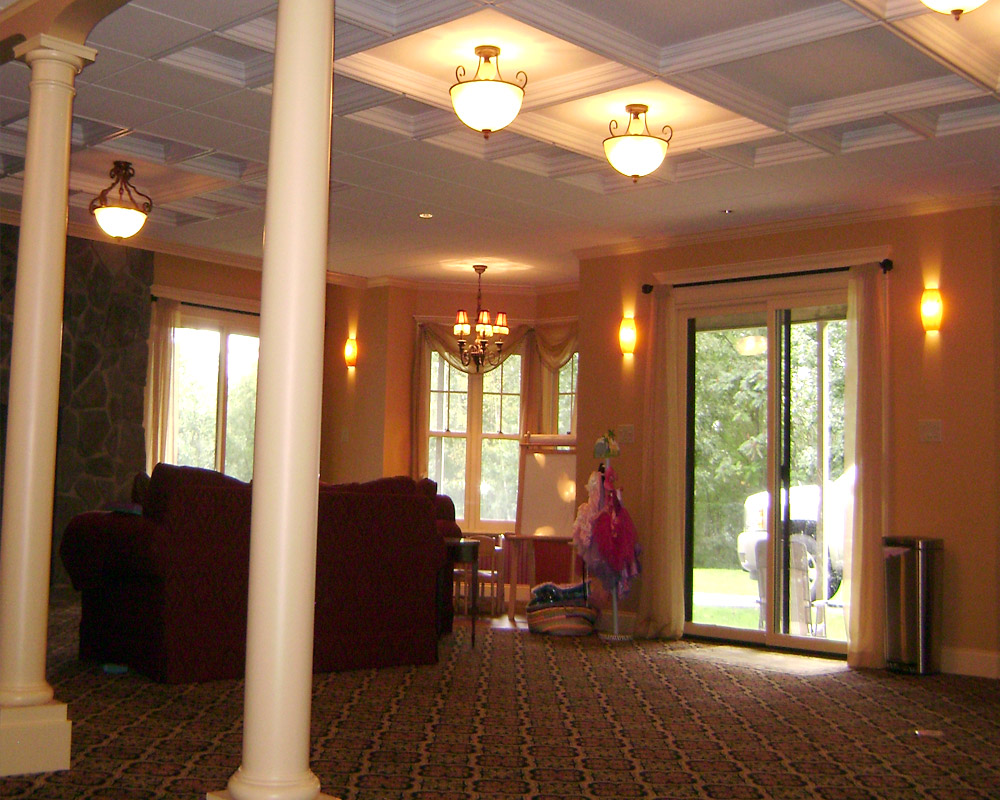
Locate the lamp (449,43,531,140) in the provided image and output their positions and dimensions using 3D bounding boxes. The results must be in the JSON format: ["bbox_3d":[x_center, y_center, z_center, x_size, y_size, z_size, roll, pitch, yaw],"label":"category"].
[{"bbox_3d":[-0.079,-1.707,4.885,0.487,0.529,0.484,0,-8,-1],"label":"lamp"}]

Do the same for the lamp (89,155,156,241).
[{"bbox_3d":[-2.967,-1.625,6.908,0.536,0.760,0.537,2,-13,-16],"label":"lamp"}]

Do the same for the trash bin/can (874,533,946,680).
[{"bbox_3d":[2.927,1.440,6.383,0.416,0.991,0.325,0,9,23],"label":"trash bin/can"}]

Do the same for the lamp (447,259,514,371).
[{"bbox_3d":[-0.219,-0.926,9.919,0.627,1.215,0.657,2,3,5],"label":"lamp"}]

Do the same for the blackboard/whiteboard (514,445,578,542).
[{"bbox_3d":[0.458,0.905,8.506,0.552,0.818,0.292,2,-5,5],"label":"blackboard/whiteboard"}]

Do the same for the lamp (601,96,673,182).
[{"bbox_3d":[0.852,-1.571,5.375,0.417,0.420,0.445,2,5,-4],"label":"lamp"}]
